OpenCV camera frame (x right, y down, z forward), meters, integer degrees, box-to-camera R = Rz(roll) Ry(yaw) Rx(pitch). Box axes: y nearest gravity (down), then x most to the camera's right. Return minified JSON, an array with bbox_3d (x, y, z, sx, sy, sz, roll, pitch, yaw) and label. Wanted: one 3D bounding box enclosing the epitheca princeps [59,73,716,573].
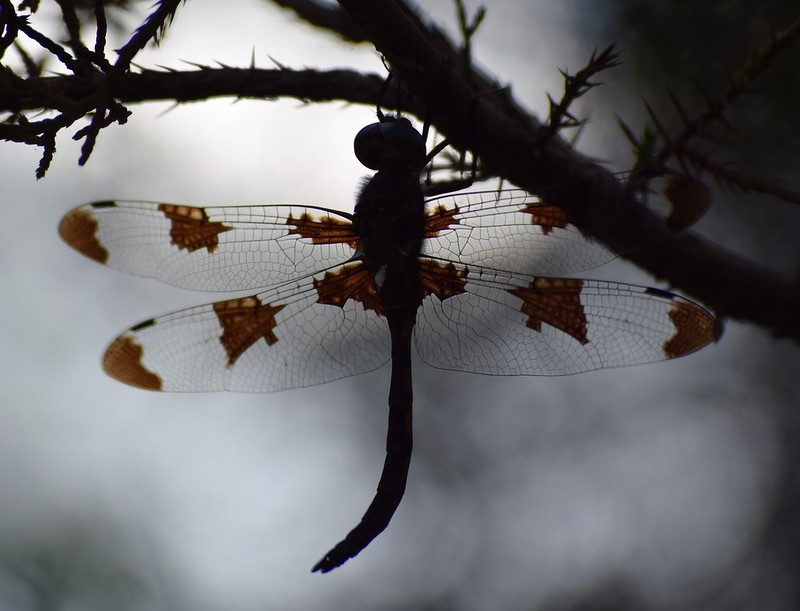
[{"bbox_3d":[-0.020,-0.014,1.445,0.921,0.210,0.736,-2,-78,4],"label":"epitheca princeps"}]
